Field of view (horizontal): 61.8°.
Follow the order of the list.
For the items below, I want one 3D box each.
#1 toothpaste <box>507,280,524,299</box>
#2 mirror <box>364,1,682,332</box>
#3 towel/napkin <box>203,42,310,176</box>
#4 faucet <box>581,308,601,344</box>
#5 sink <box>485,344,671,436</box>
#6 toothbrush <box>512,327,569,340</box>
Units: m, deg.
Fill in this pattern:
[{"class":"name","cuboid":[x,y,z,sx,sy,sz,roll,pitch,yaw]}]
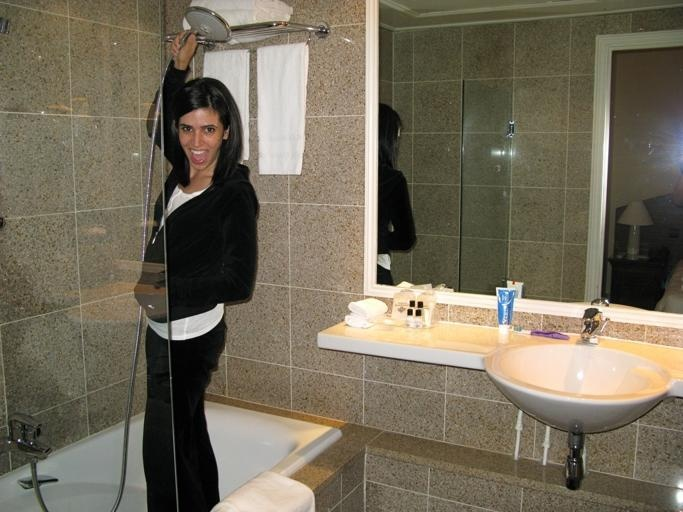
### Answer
[{"class":"toothpaste","cuboid":[0.742,0.145,2.422,0.065,0.078,0.009,11,21,35]},{"class":"mirror","cuboid":[0.798,-0.396,2.366,1.319,1.433,0.039,3,7,21]},{"class":"towel/napkin","cuboid":[-0.392,-0.699,2.694,0.600,0.610,0.067,6,12,31]},{"class":"faucet","cuboid":[1.001,0.267,2.276,0.072,0.125,0.129,3,14,25]},{"class":"sink","cuboid":[0.831,0.486,2.040,0.610,0.203,0.480,-3,13,-2]},{"class":"toothbrush","cuboid":[0.835,0.326,2.375,0.198,0.032,0.037,4,5,31]}]
